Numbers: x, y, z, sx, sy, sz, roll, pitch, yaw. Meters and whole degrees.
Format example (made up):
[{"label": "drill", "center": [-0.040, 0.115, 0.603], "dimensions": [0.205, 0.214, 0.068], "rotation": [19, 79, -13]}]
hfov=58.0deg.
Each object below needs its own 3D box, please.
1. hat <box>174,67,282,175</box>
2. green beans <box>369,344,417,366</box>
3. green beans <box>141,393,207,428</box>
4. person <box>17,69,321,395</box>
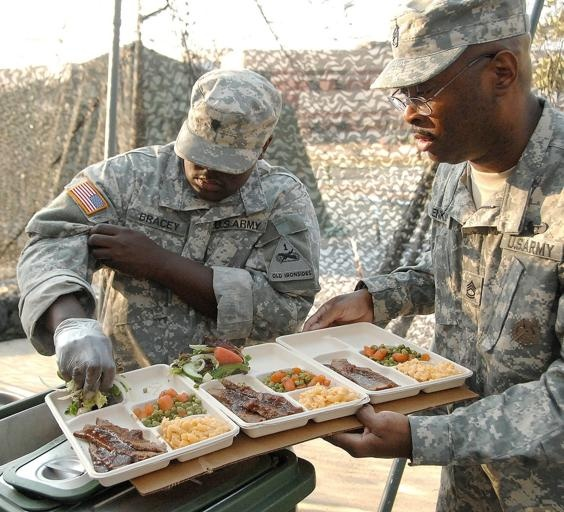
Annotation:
[{"label": "hat", "center": [-0.261, -0.634, 2.509], "dimensions": [0.617, 0.451, 0.474], "rotation": [-5, 11, -26]}, {"label": "green beans", "center": [0.527, 0.473, 2.476], "dimensions": [0.137, 0.030, 0.122], "rotation": [-3, 6, -30]}, {"label": "green beans", "center": [-0.412, 0.572, 1.895], "dimensions": [0.228, 0.063, 0.194], "rotation": [-2, 5, -24]}, {"label": "person", "center": [-0.653, -0.083, 2.608], "dimensions": [1.329, 1.535, 1.137], "rotation": [-2, 17, -33]}]
